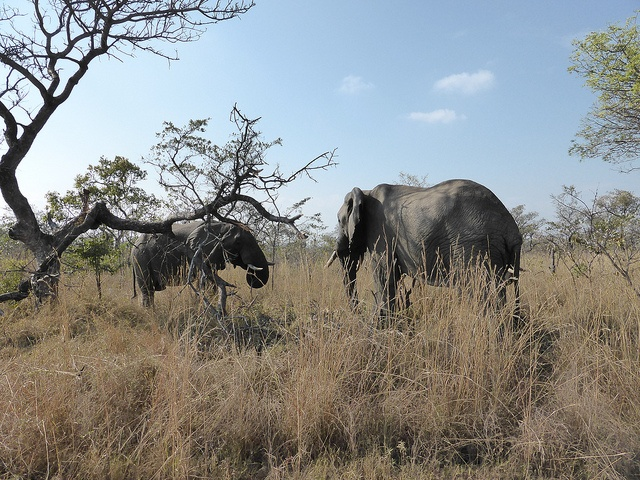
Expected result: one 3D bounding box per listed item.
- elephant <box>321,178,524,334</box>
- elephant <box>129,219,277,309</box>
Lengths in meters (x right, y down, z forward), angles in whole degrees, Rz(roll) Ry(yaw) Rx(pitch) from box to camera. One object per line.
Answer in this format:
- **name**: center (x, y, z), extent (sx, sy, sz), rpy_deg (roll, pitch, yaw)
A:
- **elephant**: center (1.518, 0.193, 8.581), extent (3.303, 2.507, 1.881), rpy_deg (2, 8, 34)
- **elephant**: center (-2.313, 0.457, 9.546), extent (2.434, 1.679, 2.231), rpy_deg (2, -7, 17)
